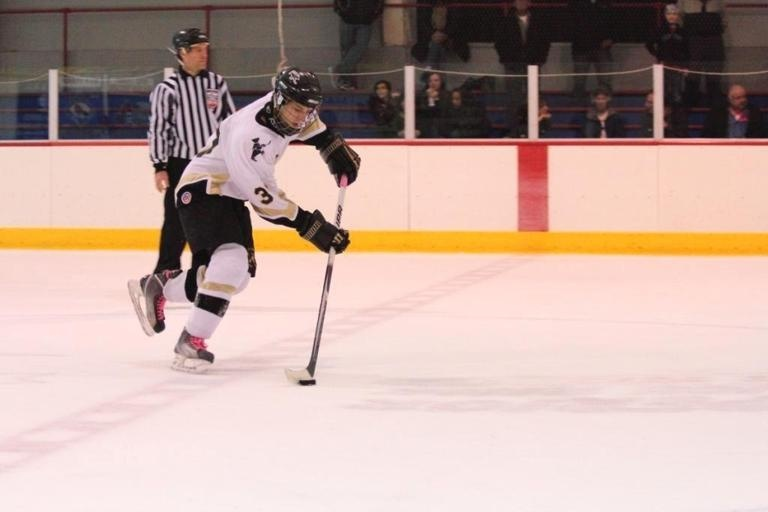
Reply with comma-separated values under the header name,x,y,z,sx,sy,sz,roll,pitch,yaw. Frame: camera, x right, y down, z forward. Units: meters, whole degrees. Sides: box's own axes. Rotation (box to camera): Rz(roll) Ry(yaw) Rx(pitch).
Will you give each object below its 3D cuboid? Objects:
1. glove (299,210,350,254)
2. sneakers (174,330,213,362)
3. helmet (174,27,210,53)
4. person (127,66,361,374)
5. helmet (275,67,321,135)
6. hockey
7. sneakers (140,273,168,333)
name,x,y,z,sx,sy,sz,roll,pitch,yaw
glove,-0.282,-0.126,4.786,0.291,0.147,0.097,31,17,-2
sneakers,-0.916,0.428,4.785,0.230,0.121,0.115,15,-4,4
helmet,-1.178,-1.297,5.894,0.211,0.148,0.146,-14,13,7
person,-0.667,-0.218,4.879,1.167,1.405,0.707,-4,16,-12
helmet,-0.401,-0.727,4.638,0.233,0.302,0.183,-8,17,-25
hockey,-0.234,0.118,4.882,0.194,1.134,0.189,24,-27,-23
sneakers,-1.188,0.240,5.193,0.168,0.300,0.119,-4,7,19
